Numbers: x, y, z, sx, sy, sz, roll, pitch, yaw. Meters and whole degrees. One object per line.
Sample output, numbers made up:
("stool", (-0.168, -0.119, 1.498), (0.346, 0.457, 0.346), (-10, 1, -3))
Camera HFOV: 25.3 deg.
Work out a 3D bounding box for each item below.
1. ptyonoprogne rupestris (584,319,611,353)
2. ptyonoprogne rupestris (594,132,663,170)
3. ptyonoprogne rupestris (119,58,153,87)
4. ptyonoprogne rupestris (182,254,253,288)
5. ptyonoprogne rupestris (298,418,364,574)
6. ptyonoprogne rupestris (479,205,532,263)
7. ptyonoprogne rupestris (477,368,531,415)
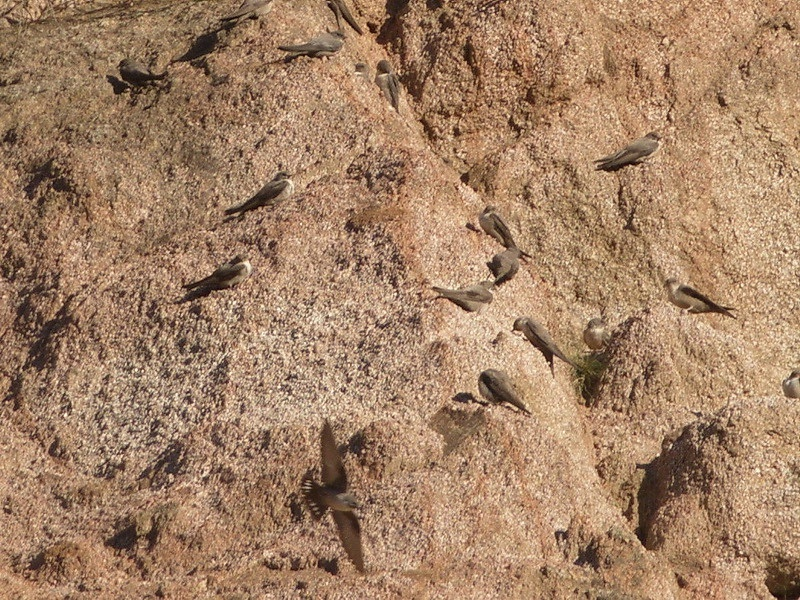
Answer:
("ptyonoprogne rupestris", (2.215, 0.407, 20.323), (0.246, 0.376, 0.375), (-3, 71, 1))
("ptyonoprogne rupestris", (2.655, -1.704, 20.467), (0.917, 0.329, 0.603), (-5, 95, -12))
("ptyonoprogne rupestris", (-3.003, -2.552, 20.213), (0.269, 0.402, 0.237), (19, 100, -37))
("ptyonoprogne rupestris", (-1.961, -0.317, 19.337), (0.802, 0.290, 0.421), (-3, 94, -5))
("ptyonoprogne rupestris", (-0.688, 2.032, 18.403), (0.623, 0.203, 1.573), (-14, 93, 19))
("ptyonoprogne rupestris", (1.227, -0.699, 20.058), (0.259, 0.809, 0.482), (-39, 44, 21))
("ptyonoprogne rupestris", (1.093, 0.915, 18.767), (0.535, 0.341, 0.361), (23, 111, 21))
